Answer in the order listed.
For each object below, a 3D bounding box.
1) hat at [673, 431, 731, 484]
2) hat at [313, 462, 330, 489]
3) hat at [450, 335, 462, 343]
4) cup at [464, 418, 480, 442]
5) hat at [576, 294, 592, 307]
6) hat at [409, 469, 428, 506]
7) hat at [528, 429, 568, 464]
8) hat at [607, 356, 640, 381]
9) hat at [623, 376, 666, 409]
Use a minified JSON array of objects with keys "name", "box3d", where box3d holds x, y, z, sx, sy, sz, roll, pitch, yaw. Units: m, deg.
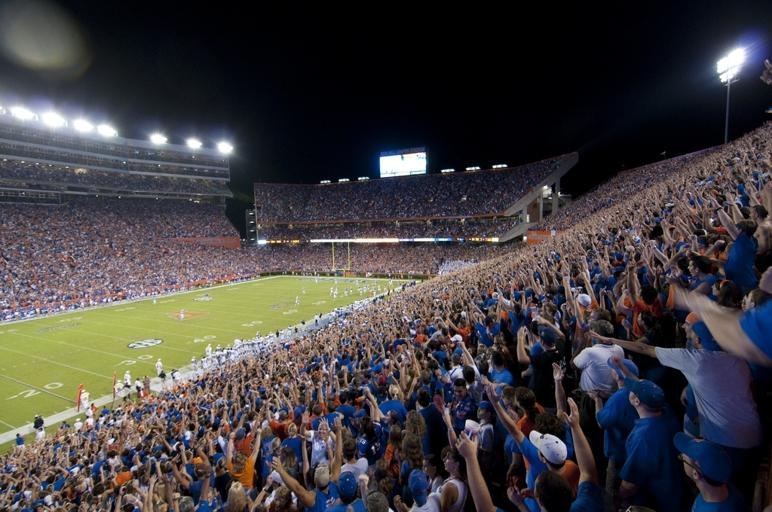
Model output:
[{"name":"hat","box3d":[5.912,3.788,9.765,0.649,1.013,0.599,-16,-35,-20]},{"name":"hat","box3d":[-1.326,4.579,10.917,0.285,0.245,0.444,2,12,-8]},{"name":"hat","box3d":[1.882,2.231,13.889,0.319,0.172,0.220,6,-4,-35]},{"name":"cup","box3d":[1.825,3.680,10.962,0.413,0.441,0.413,3,-6,0]},{"name":"hat","box3d":[4.633,1.072,12.112,0.375,0.322,0.241,-2,0,1]},{"name":"hat","box3d":[0.659,4.609,10.273,0.429,0.636,0.621,-6,4,2]},{"name":"hat","box3d":[3.141,3.683,10.075,0.453,0.274,0.686,-23,36,-28]},{"name":"hat","box3d":[4.884,2.280,10.633,0.405,0.555,0.318,-10,-35,-47]},{"name":"hat","box3d":[5.105,2.752,10.279,0.487,0.361,0.680,-20,48,-10]}]
